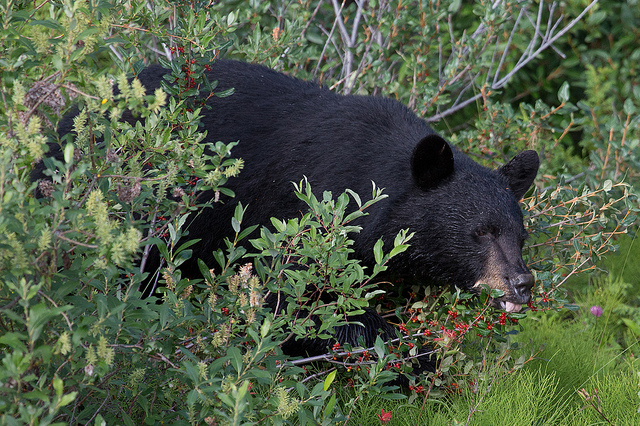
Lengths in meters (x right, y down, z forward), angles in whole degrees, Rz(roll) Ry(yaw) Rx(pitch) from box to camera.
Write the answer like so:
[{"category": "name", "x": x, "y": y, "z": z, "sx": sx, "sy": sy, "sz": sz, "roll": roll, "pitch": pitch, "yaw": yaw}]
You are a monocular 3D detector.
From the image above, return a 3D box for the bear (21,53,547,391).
[{"category": "bear", "x": 0.075, "y": -0.014, "z": 3.749, "sx": 2.794, "sy": 2.095, "sz": 1.794, "roll": 16, "pitch": -13, "yaw": -15}]
